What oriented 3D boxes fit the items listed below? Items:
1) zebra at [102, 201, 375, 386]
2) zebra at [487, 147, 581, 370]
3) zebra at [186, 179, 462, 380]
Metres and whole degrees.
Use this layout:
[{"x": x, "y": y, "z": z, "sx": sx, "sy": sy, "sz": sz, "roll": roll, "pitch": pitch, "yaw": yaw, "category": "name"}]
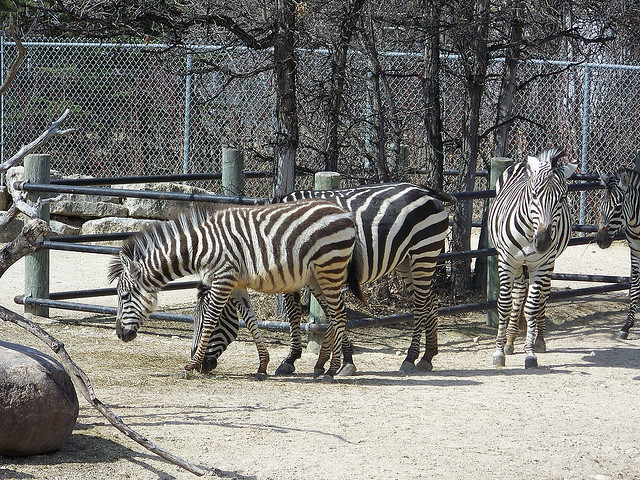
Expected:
[{"x": -0.762, "y": 0.519, "z": 12.202, "sx": 2.632, "sy": 1.979, "sz": 0.848, "roll": -4, "pitch": 10, "yaw": -12, "category": "zebra"}, {"x": 2.110, "y": 0.146, "z": 12.692, "sx": 0.832, "sy": 2.226, "sz": 1.267, "roll": 3, "pitch": 13, "yaw": 8, "category": "zebra"}, {"x": 0.083, "y": 0.526, "z": 12.504, "sx": 2.900, "sy": 1.988, "sz": 0.889, "roll": -5, "pitch": 3, "yaw": -17, "category": "zebra"}]
